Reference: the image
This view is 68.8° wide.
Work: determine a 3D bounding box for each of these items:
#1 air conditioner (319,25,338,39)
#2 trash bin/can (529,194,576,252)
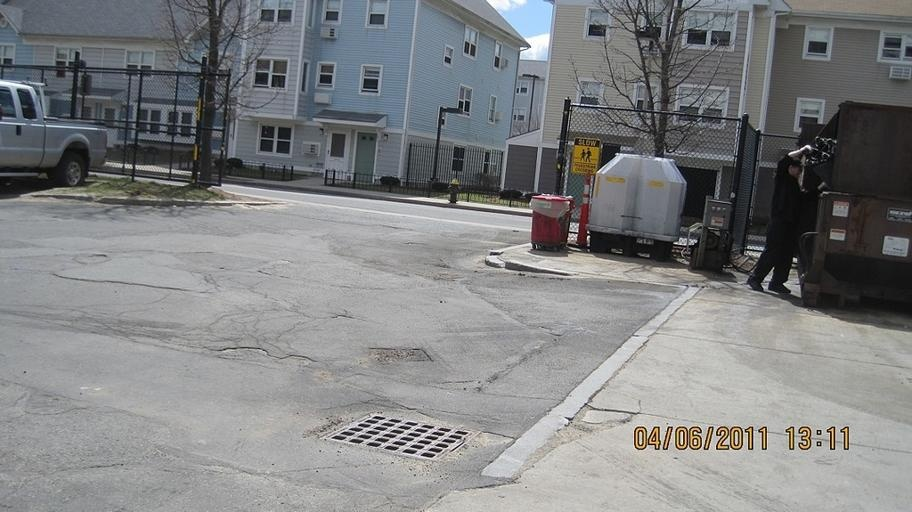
[{"bbox_3d":[-7.906,-14.041,41.532,1.490,0.929,0.779,6,14,11],"label":"air conditioner"},{"bbox_3d":[2.734,-0.965,17.954,1.556,1.524,1.461,0,7,1],"label":"trash bin/can"}]
